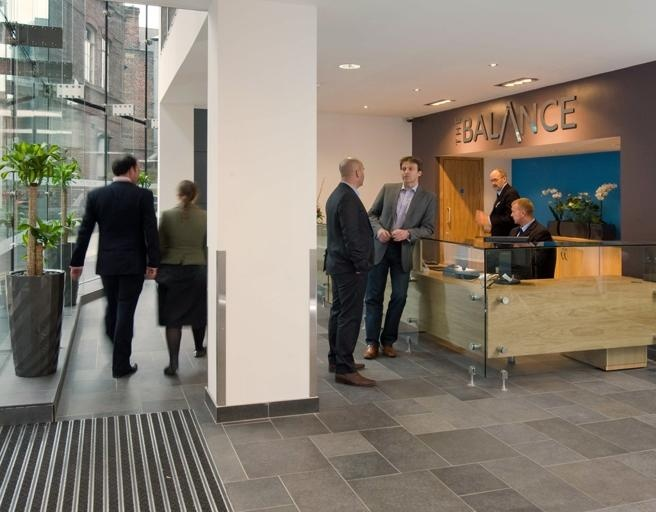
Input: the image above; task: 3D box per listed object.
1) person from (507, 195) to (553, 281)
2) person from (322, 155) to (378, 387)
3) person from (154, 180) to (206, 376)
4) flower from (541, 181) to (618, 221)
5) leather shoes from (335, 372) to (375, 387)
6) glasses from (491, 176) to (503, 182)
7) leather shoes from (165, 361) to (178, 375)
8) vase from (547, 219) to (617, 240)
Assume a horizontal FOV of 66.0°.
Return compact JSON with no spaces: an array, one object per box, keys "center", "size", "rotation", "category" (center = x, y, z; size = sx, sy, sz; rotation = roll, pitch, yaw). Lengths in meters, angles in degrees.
[{"center":[1.960,-0.190,4.787],"size":[0.373,0.690,1.297],"rotation":[2,7,20],"category":"person"},{"center":[0.192,0.134,4.456],"size":[0.403,1.975,0.494],"rotation":[-2,7,-18],"category":"person"},{"center":[-1.397,0.188,4.775],"size":[0.470,1.772,0.474],"rotation":[-3,7,-24],"category":"person"},{"center":[4.294,-0.816,8.570],"size":[1.056,0.499,0.697],"rotation":[0,-2,-22],"category":"flower"},{"center":[0.239,1.067,4.458],"size":[0.365,0.146,0.130],"rotation":[-1,-3,6],"category":"leather shoes"},{"center":[2.382,-1.067,7.018],"size":[0.179,0.081,0.105],"rotation":[3,7,24],"category":"glasses"},{"center":[-1.460,1.047,4.710],"size":[0.075,0.141,0.150],"rotation":[3,4,-22],"category":"leather shoes"},{"center":[4.165,-0.438,8.297],"size":[0.321,0.279,1.028],"rotation":[-4,8,-32],"category":"vase"}]
